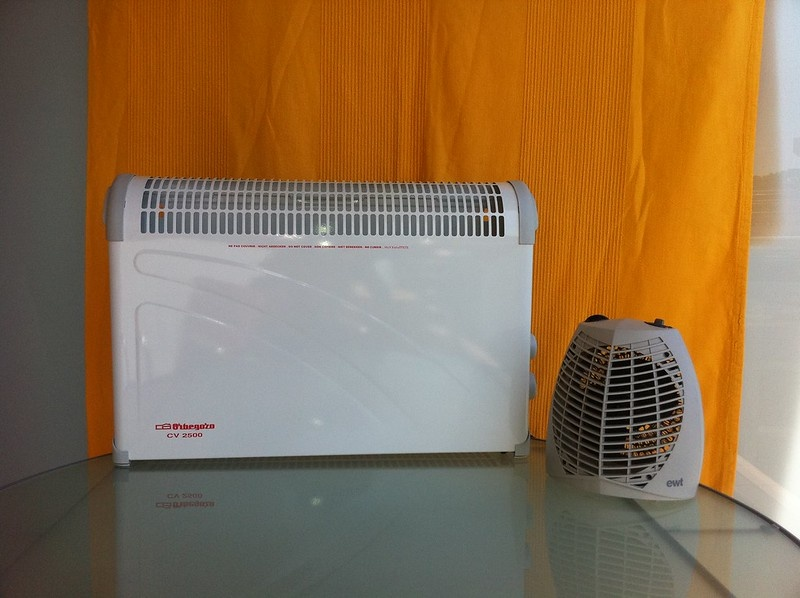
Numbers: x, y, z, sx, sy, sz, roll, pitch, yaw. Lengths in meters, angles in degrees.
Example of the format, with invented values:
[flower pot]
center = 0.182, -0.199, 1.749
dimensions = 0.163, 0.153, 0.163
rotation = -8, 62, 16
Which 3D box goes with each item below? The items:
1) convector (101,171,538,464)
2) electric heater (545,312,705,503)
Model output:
[convector]
center = -0.136, 0.046, 1.413
dimensions = 0.793, 0.557, 0.072
rotation = 3, 7, -3
[electric heater]
center = 0.400, 0.200, 1.324
dimensions = 0.226, 0.327, 0.168
rotation = 2, 8, 8
